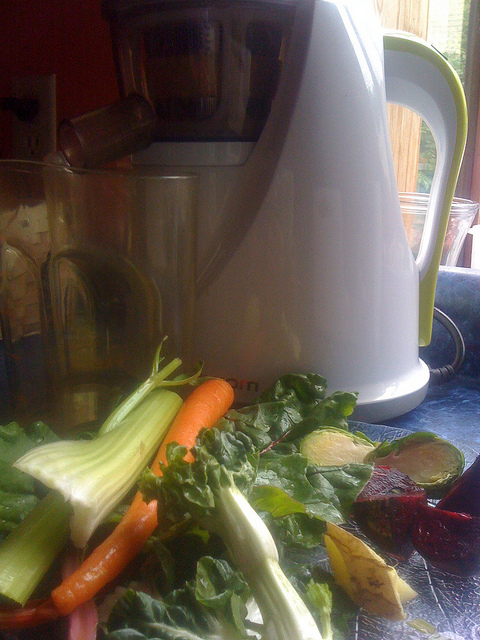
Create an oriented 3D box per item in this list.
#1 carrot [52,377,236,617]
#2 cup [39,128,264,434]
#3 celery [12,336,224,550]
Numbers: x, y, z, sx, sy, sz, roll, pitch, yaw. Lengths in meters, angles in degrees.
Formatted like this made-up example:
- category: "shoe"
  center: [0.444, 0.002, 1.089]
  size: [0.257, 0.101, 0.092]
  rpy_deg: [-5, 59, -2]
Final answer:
- category: "carrot"
  center: [-0.048, 0.086, 0.317]
  size: [0.035, 0.190, 0.036]
  rpy_deg: [34, -22, -7]
- category: "cup"
  center: [-0.122, -0.108, 0.615]
  size: [0.226, 0.456, 0.236]
  rpy_deg: [4, 17, -1]
- category: "celery"
  center: [-0.081, 0.086, 0.361]
  size: [0.074, 0.070, 0.222]
  rpy_deg: [17, 21, 9]
